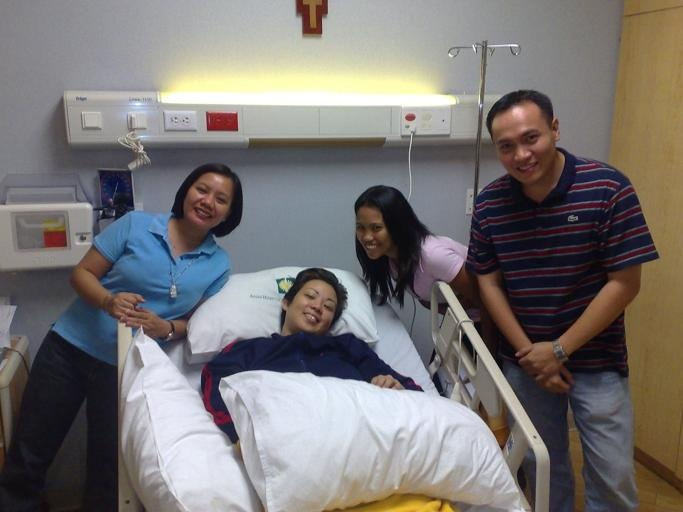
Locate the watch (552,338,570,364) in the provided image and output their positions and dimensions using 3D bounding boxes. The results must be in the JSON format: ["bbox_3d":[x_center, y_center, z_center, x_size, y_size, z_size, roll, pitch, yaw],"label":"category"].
[{"bbox_3d":[0.844,0.372,2.121,0.053,0.085,0.086,-24,2,8],"label":"watch"}]

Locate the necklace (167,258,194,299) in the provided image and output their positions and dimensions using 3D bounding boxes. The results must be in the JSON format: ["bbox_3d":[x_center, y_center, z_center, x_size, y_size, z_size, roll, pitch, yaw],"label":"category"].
[{"bbox_3d":[-0.713,0.089,2.366,0.087,0.150,0.143,0,-7,-9],"label":"necklace"}]

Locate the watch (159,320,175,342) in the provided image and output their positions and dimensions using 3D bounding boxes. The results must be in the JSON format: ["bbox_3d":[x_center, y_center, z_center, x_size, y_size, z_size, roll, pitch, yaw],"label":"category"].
[{"bbox_3d":[-0.752,0.320,2.396,0.058,0.086,0.093,2,-36,-39],"label":"watch"}]

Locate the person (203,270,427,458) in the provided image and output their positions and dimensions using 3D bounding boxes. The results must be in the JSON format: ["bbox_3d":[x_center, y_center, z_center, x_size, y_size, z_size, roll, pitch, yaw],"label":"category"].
[{"bbox_3d":[-0.128,0.418,2.287,0.828,0.424,1.163,-2,24,-10],"label":"person"}]
